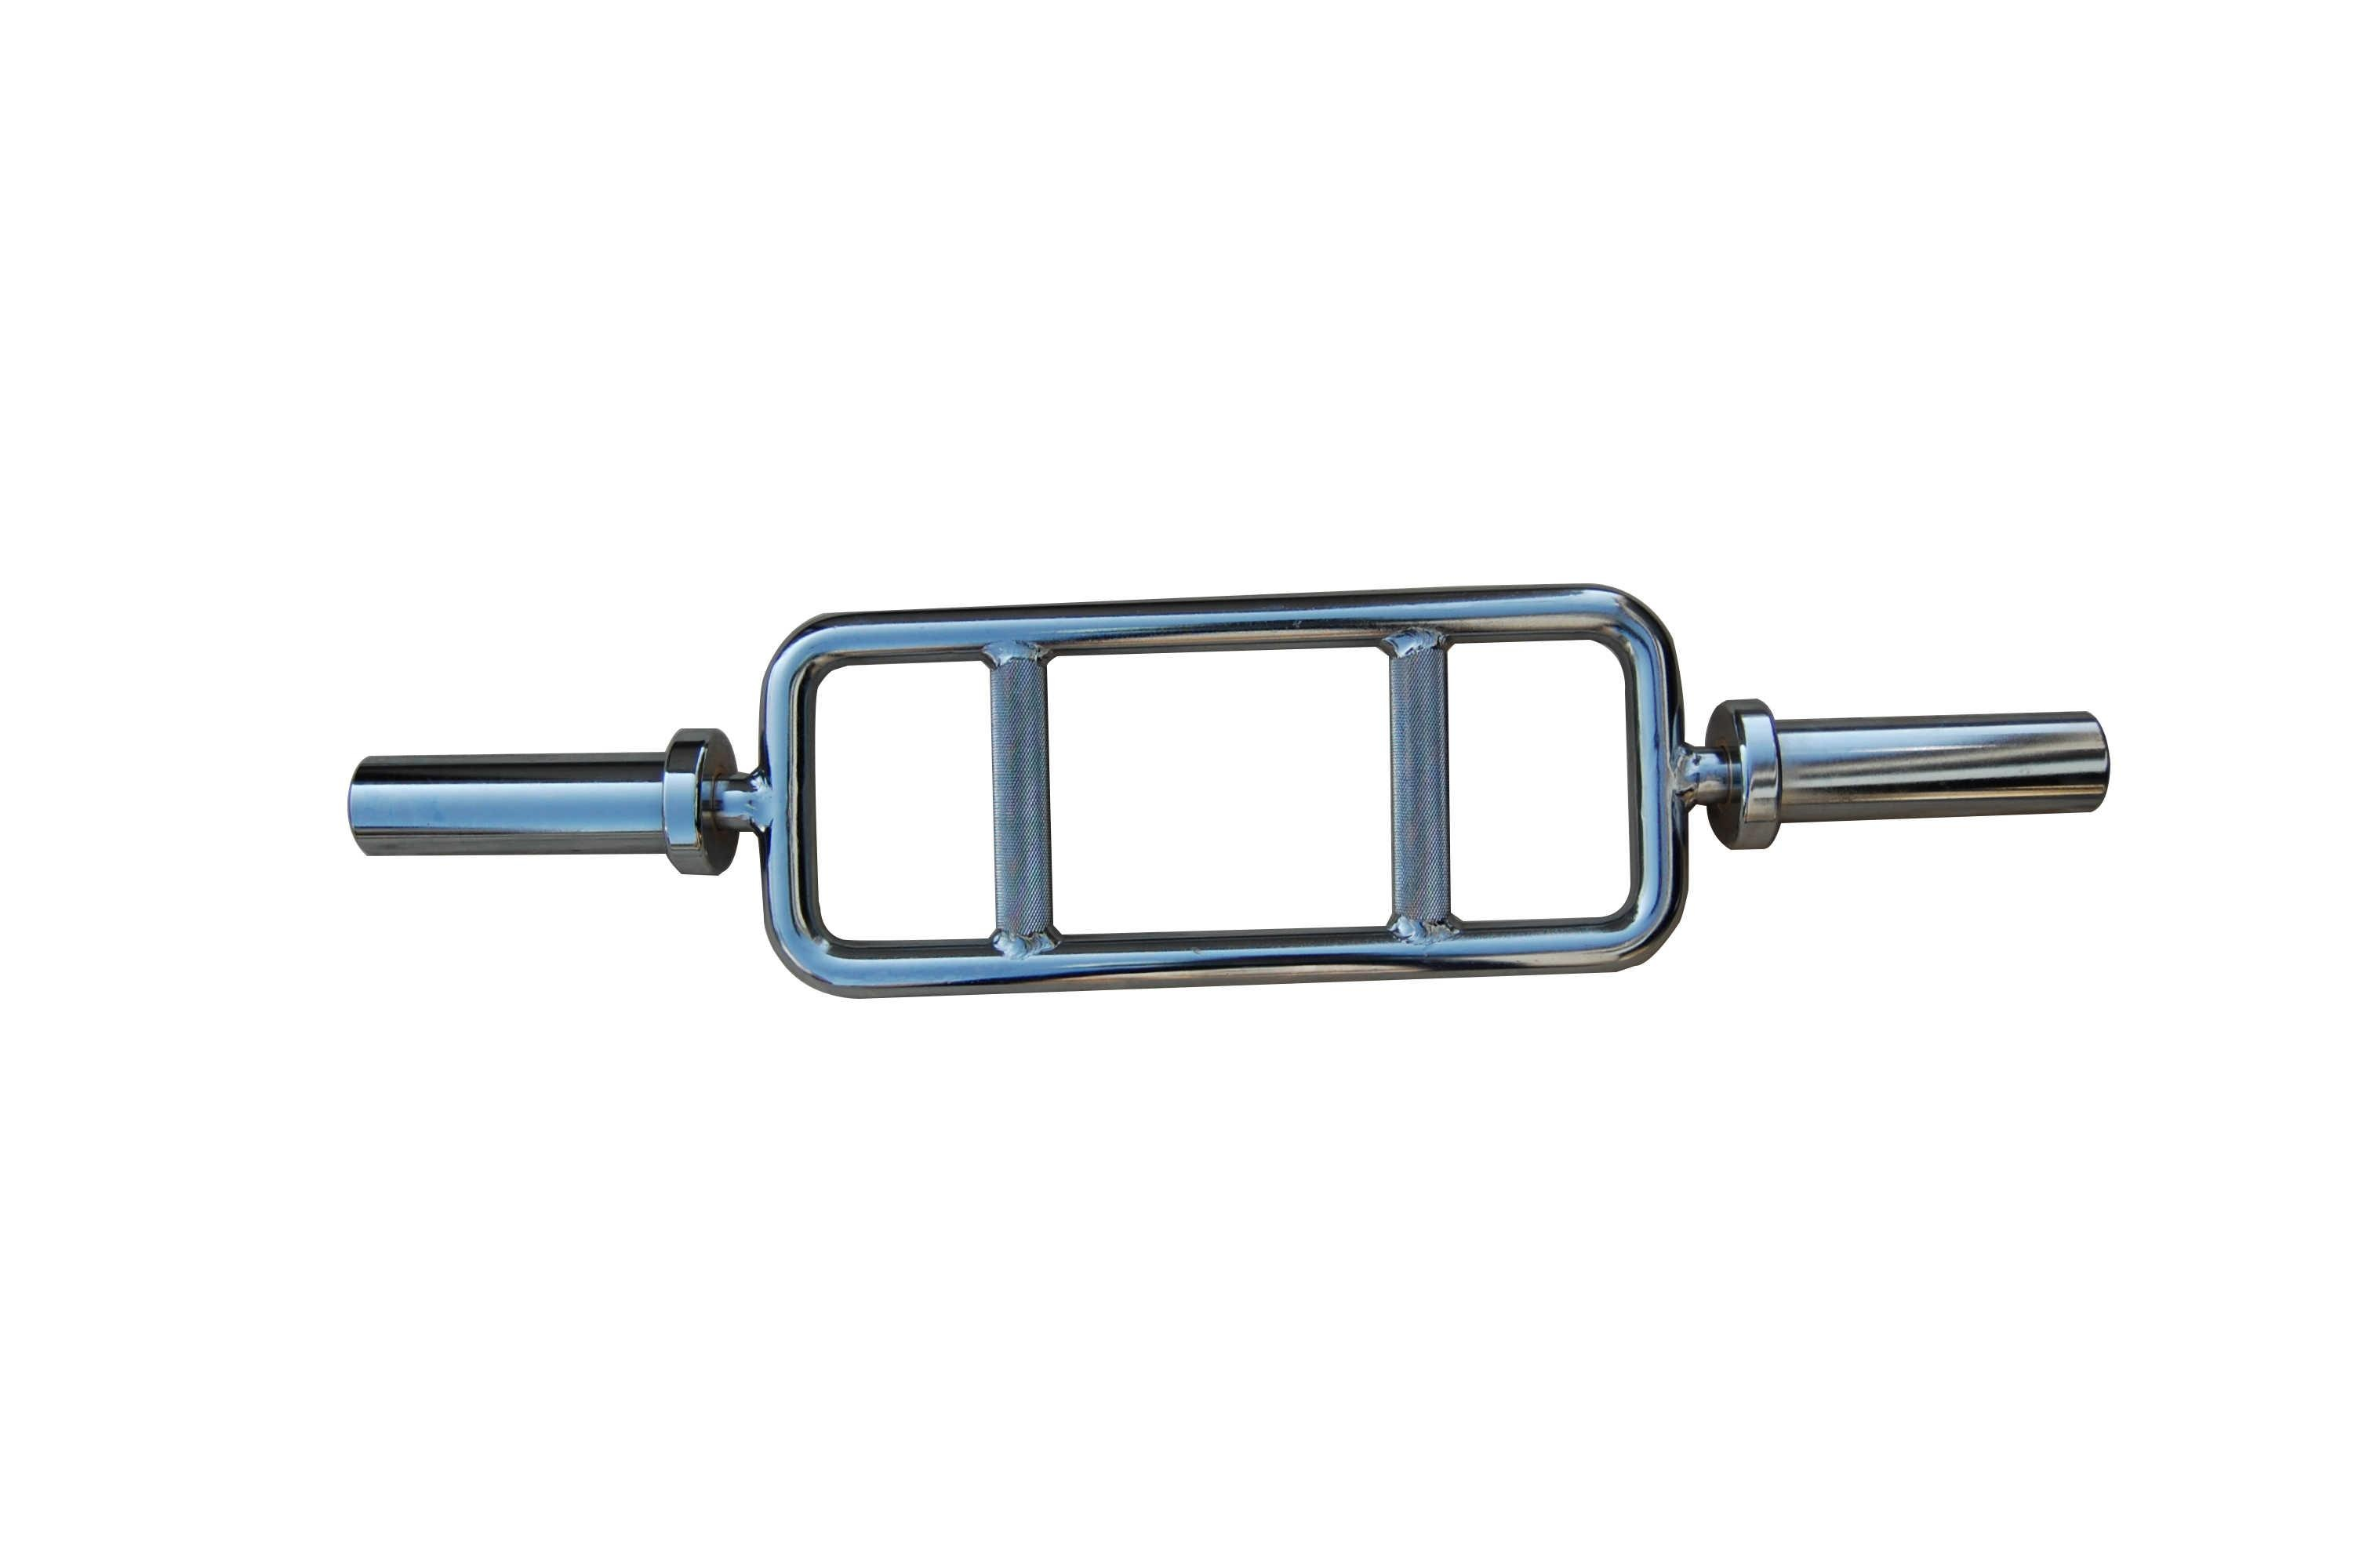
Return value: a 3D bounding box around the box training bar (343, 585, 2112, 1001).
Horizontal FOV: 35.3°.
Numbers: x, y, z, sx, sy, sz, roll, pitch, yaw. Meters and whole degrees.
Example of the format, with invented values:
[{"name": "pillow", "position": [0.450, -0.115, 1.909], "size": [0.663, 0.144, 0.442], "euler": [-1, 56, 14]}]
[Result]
[{"name": "box training bar", "position": [0.042, 0.003, 3.293], "size": [1.827, 0.186, 0.513], "euler": [1, -98, 3]}]
